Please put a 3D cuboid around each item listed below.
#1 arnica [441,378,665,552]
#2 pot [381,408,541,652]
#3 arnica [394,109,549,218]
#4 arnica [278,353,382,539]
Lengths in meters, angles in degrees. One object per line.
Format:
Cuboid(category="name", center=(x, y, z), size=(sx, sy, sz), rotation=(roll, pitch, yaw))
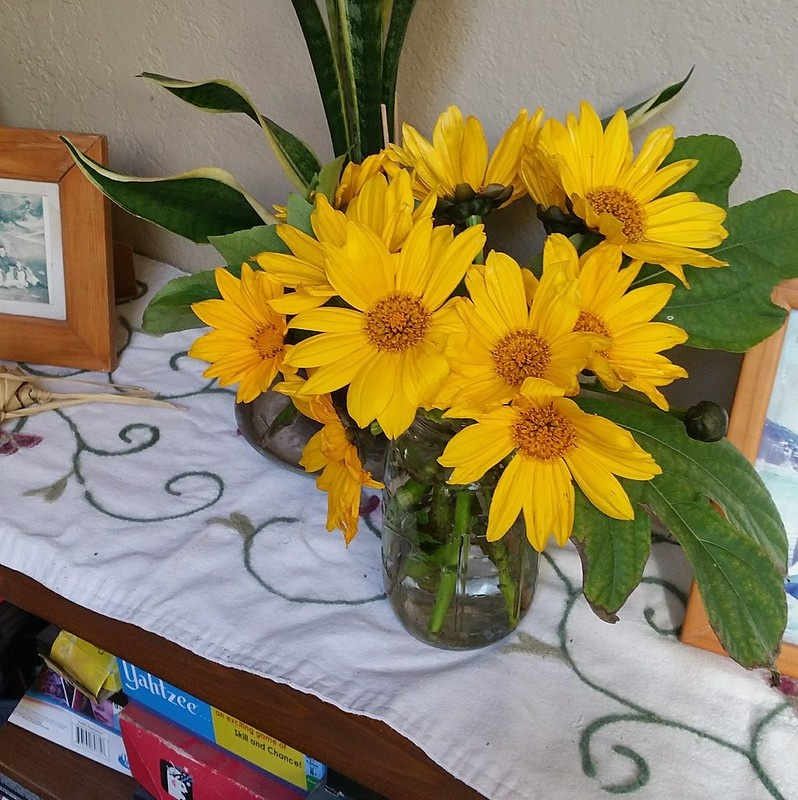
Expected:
Cuboid(category="arnica", center=(0.062, 0.024, 0.327), size=(0.095, 0.074, 0.033), rotation=(19, 22, 5))
Cuboid(category="pot", center=(0.055, 0.083, 0.476), size=(0.113, 0.128, 0.099), rotation=(6, -5, -37))
Cuboid(category="arnica", center=(0.029, -0.115, 0.376), size=(0.073, 0.062, 0.048), rotation=(6, 25, -1))
Cuboid(category="arnica", center=(-0.017, 0.024, 0.398), size=(0.032, 0.077, 0.090), rotation=(-31, 34, -24))
